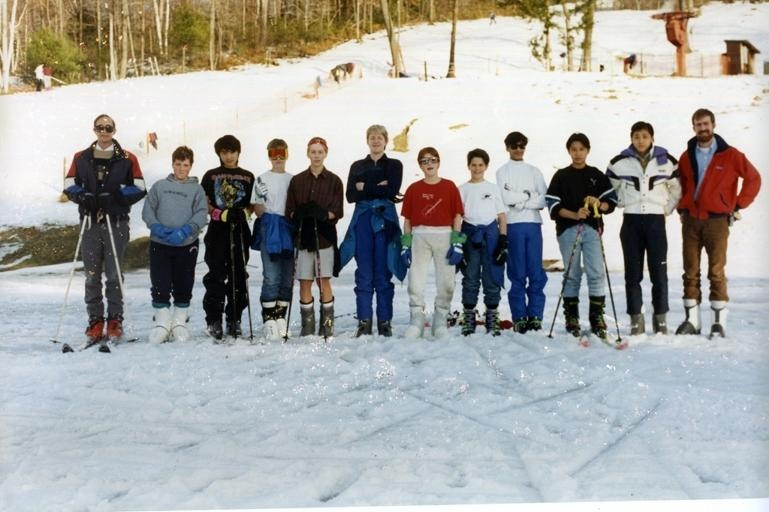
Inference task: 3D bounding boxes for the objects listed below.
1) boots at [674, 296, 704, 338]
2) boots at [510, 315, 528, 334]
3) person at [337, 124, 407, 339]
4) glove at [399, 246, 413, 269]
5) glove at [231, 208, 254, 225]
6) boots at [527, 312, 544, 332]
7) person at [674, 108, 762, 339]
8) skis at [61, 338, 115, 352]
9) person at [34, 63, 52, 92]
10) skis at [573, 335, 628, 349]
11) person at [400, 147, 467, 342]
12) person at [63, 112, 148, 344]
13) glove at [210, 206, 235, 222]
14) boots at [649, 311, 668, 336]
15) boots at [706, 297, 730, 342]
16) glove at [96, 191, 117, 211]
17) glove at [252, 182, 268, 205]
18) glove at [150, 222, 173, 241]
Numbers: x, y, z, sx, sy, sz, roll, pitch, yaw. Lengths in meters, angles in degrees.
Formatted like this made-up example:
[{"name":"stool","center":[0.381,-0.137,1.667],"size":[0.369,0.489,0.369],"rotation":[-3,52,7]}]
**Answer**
[{"name":"boots","center":[4.485,0.941,11.580],"size":[0.257,0.576,0.631],"rotation":[3,7,45]},{"name":"boots","center":[2.013,1.040,11.521],"size":[0.224,0.202,0.247],"rotation":[2,12,10]},{"name":"person","center":[-0.172,-0.363,11.461],"size":[0.947,3.097,0.781],"rotation":[-1,12,-3]},{"name":"glove","center":[0.311,0.014,11.327],"size":[0.159,0.317,0.180],"rotation":[-1,12,-1]},{"name":"glove","center":[-2.144,-0.590,11.555],"size":[0.416,0.255,0.250],"rotation":[-7,14,-28]},{"name":"boots","center":[2.241,0.996,11.619],"size":[0.162,0.130,0.281],"rotation":[-2,22,3]},{"name":"person","center":[4.790,-0.489,11.428],"size":[1.030,3.299,0.880],"rotation":[4,13,19]},{"name":"skis","center":[-4.199,1.321,10.989],"size":[0.489,0.184,0.290],"rotation":[-12,3,-9]},{"name":"person","center":[-11.743,-6.182,26.702],"size":[0.486,0.878,0.955],"rotation":[-6,13,-24]},{"name":"skis","center":[3.068,1.254,11.201],"size":[0.751,0.243,0.233],"rotation":[4,-12,42]},{"name":"person","center":[0.699,0.029,11.386],"size":[0.929,2.300,0.680],"rotation":[0,12,2]},{"name":"person","center":[-4.115,-0.427,11.398],"size":[1.010,3.253,1.040],"rotation":[2,12,11]},{"name":"glove","center":[-2.436,-0.595,11.500],"size":[0.189,0.212,0.428],"rotation":[-12,16,-43]},{"name":"boots","center":[4.076,1.016,11.528],"size":[0.213,0.331,0.247],"rotation":[5,13,23]},{"name":"boots","center":[4.874,0.921,11.399],"size":[0.240,0.530,0.418],"rotation":[5,13,22]},{"name":"glove","center":[-4.052,-0.804,11.307],"size":[0.282,0.247,0.258],"rotation":[0,-2,28]},{"name":"glove","center":[-1.861,-0.947,11.506],"size":[0.244,0.359,0.179],"rotation":[3,12,14]},{"name":"glove","center":[-3.231,-0.352,11.281],"size":[0.331,0.253,0.151],"rotation":[5,13,23]}]
